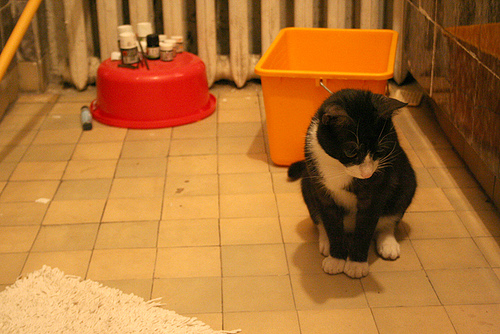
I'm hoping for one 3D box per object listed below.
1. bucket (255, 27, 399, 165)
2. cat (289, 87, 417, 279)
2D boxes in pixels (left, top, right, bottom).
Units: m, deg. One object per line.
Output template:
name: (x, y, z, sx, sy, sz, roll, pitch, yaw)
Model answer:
bucket: (0.465, -0.239, 2.450, 0.693, 0.467, 0.644, 3, 7, 0)
cat: (0.401, 0.052, 1.778, 0.450, 0.682, 0.347, 6, 32, 15)
